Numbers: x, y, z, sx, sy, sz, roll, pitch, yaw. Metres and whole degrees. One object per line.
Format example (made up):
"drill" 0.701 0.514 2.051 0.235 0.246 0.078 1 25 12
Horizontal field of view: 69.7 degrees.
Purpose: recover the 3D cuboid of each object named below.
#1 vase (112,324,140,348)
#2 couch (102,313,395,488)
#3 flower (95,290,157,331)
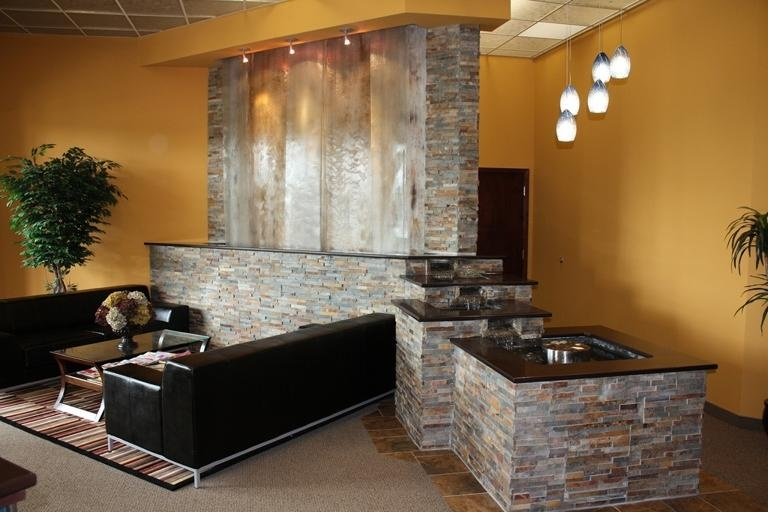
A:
"vase" -3.243 0.998 6.989 0.321 0.291 0.295 1 -4 -8
"couch" -1.408 1.410 6.451 1.471 1.147 2.976 4 5 36
"flower" -3.388 0.643 6.950 0.611 0.415 0.702 13 -7 -18
